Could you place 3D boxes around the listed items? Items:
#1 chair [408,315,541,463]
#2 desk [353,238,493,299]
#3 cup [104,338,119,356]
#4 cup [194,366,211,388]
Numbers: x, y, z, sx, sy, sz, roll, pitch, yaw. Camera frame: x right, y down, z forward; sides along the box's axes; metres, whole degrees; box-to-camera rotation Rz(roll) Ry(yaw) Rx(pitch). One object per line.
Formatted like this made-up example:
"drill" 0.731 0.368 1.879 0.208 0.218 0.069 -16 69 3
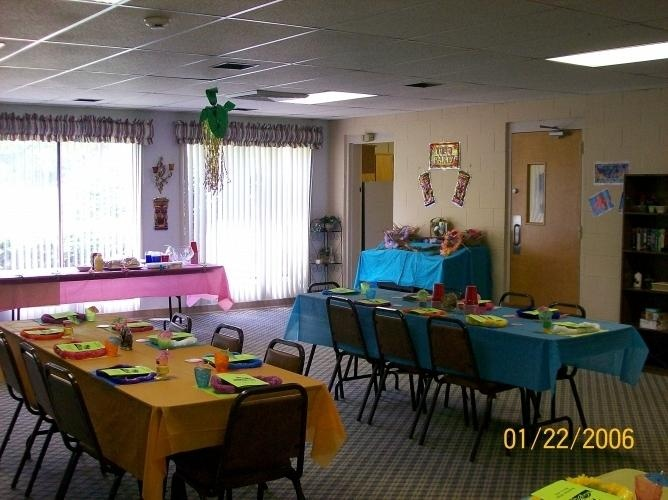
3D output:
"chair" 1.187 1.073 4.612 1.152 1.642 1.002 -2 2 -36
"desk" 1.628 0.320 8.433 1.505 0.933 2.457 4 0 -32
"cup" -1.628 0.702 3.478 0.108 0.122 0.109 0 -6 0
"cup" -0.751 0.719 2.768 0.112 0.118 0.108 0 -3 0
